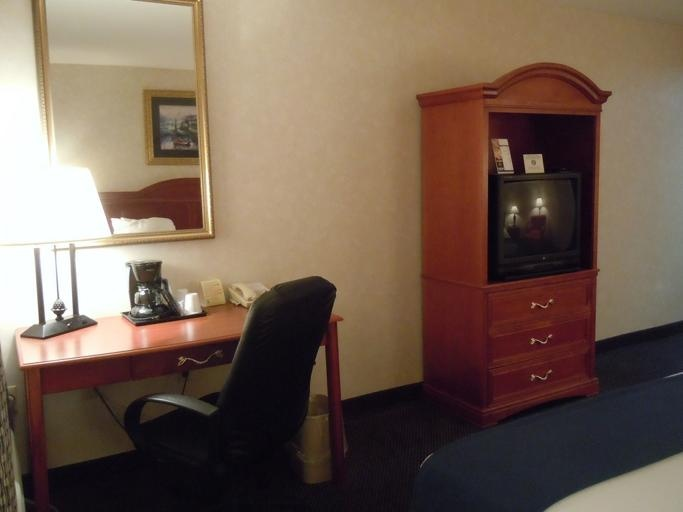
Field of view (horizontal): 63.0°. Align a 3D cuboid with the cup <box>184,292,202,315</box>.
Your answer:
[{"bbox_3d":[-0.754,0.246,2.867,0.098,0.119,0.090,-2,10,0],"label":"cup"}]

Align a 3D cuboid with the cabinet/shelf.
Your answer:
[{"bbox_3d":[1.066,-0.139,3.546,1.073,2.058,0.766,-6,13,-24],"label":"cabinet/shelf"}]

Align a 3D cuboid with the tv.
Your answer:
[{"bbox_3d":[1.155,-0.181,3.401,0.577,0.546,0.217,-7,13,-27],"label":"tv"}]

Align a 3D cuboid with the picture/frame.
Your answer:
[{"bbox_3d":[-0.891,-0.674,2.865,0.352,0.409,0.028,-6,6,-39],"label":"picture/frame"}]

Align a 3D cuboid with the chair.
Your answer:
[{"bbox_3d":[-0.446,0.650,2.458,0.792,1.161,0.662,2,13,10],"label":"chair"}]
